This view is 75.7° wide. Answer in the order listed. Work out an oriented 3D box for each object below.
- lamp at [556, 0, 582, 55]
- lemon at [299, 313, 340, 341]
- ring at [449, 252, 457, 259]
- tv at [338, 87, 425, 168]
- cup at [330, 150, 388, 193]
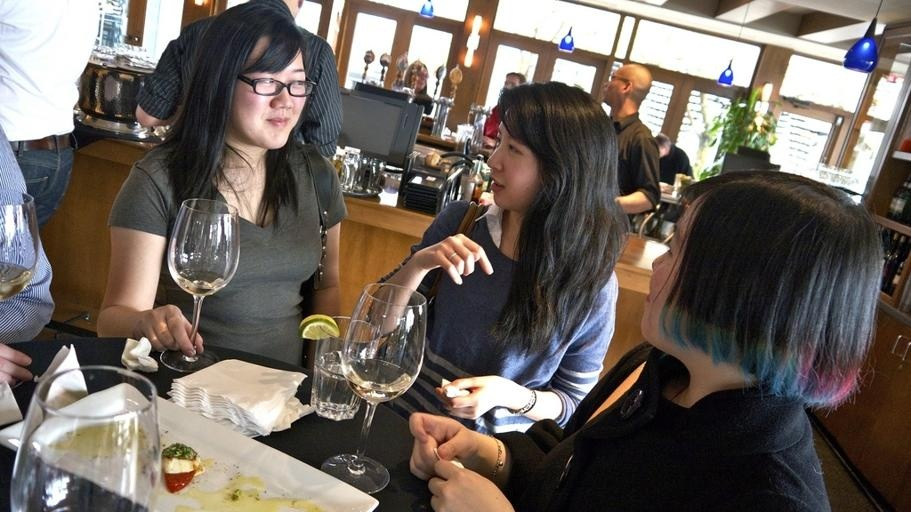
[{"bbox_3d":[1.805,-3.458,9.260,0.274,0.533,1.169,13,12,6],"label":"lamp"},{"bbox_3d":[-0.440,0.228,1.889,0.154,0.082,0.044,4,-4,25],"label":"lemon"},{"bbox_3d":[-0.008,-0.002,2.125,0.024,0.011,0.028,7,-9,-43],"label":"ring"},{"bbox_3d":[-0.515,-0.840,3.868,0.520,0.421,0.288,13,21,-2],"label":"tv"},{"bbox_3d":[-0.616,-0.507,3.653,0.315,0.284,0.310,0,10,0],"label":"cup"}]
